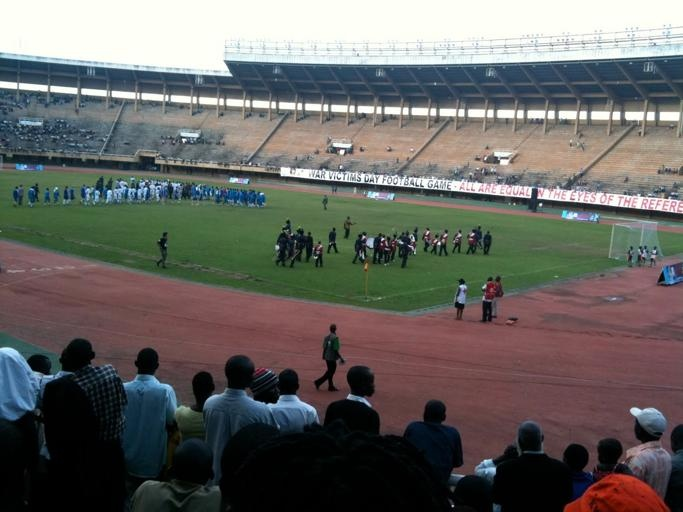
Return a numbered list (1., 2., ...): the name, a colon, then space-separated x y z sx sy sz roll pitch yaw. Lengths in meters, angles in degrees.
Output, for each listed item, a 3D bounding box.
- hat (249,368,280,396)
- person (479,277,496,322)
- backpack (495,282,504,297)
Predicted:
1. hat: -3.022 4.662 41.508 1.175 1.016 0.883 -17 12 -4
2. person: 7.518 2.231 55.835 0.657 2.338 1.077 4 -8 7
3. backpack: 8.054 1.702 56.028 0.295 0.717 0.646 -2 -10 43
